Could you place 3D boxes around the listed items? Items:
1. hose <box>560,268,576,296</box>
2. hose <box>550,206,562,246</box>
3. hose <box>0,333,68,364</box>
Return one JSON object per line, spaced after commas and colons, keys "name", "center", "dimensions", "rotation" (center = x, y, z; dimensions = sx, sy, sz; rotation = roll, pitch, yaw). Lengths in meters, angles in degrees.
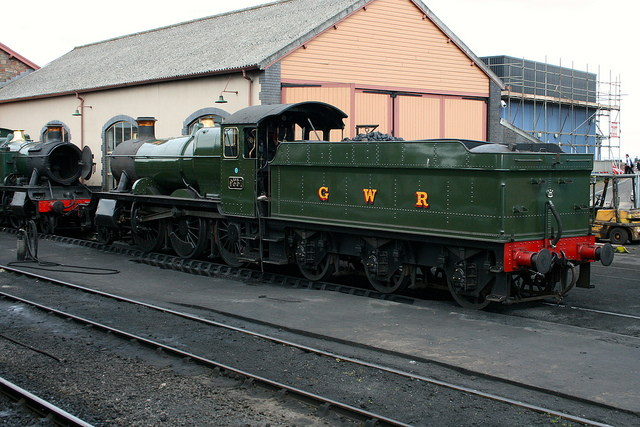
{"name": "hose", "center": [5.424, 1.477, 9.693], "dimensions": [0.323, 0.632, 0.278], "rotation": [-6, 9, -36]}
{"name": "hose", "center": [4.982, 0.267, 9.446], "dimensions": [0.246, 0.840, 0.363], "rotation": [6, 10, 43]}
{"name": "hose", "center": [-5.039, 2.367, 7.879], "dimensions": [2.091, 0.086, 0.160], "rotation": [4, 8, 29]}
